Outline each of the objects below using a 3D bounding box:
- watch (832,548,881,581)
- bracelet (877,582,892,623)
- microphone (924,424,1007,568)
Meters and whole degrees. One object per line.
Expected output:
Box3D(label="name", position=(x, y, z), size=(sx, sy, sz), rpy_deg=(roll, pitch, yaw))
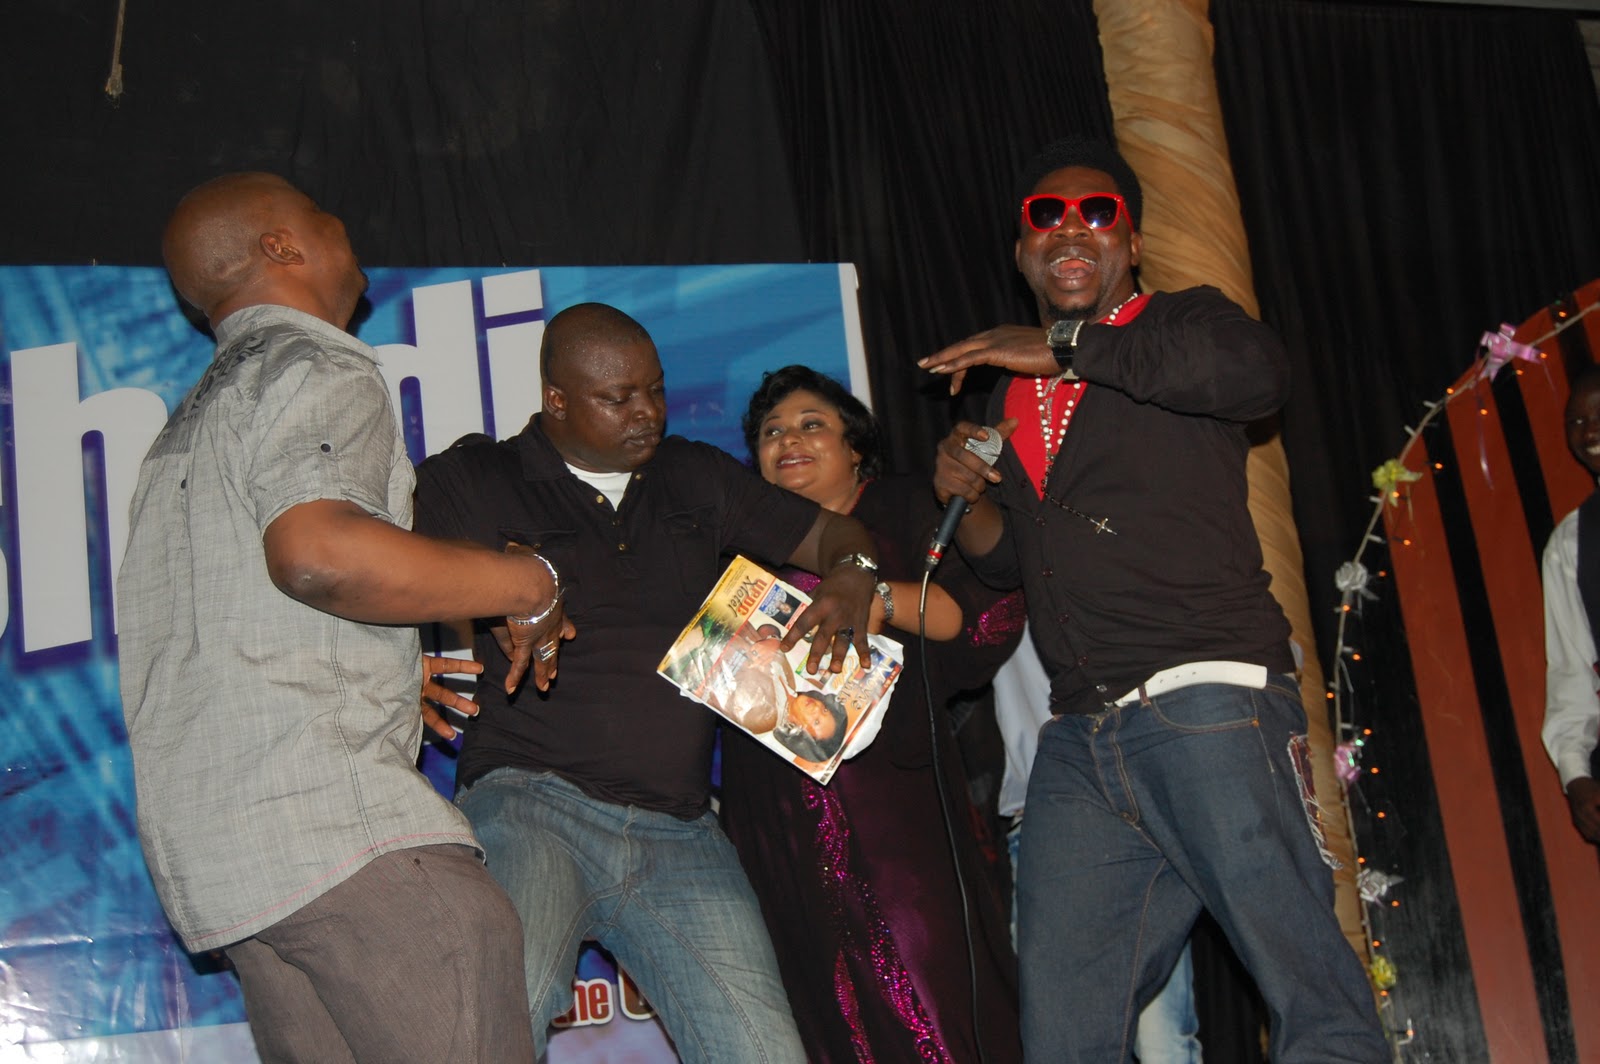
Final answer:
Box3D(label="watch", position=(0.165, 0.119, 3.944), size=(0.106, 0.071, 0.112), rpy_deg=(-8, -26, 25))
Box3D(label="bracelet", position=(0.255, 0.220, 4.084), size=(0.075, 0.111, 0.100), rpy_deg=(0, 2, -4))
Box3D(label="microphone", position=(0.445, -0.117, 3.901), size=(0.170, 0.478, 0.123), rpy_deg=(25, -14, 14))
